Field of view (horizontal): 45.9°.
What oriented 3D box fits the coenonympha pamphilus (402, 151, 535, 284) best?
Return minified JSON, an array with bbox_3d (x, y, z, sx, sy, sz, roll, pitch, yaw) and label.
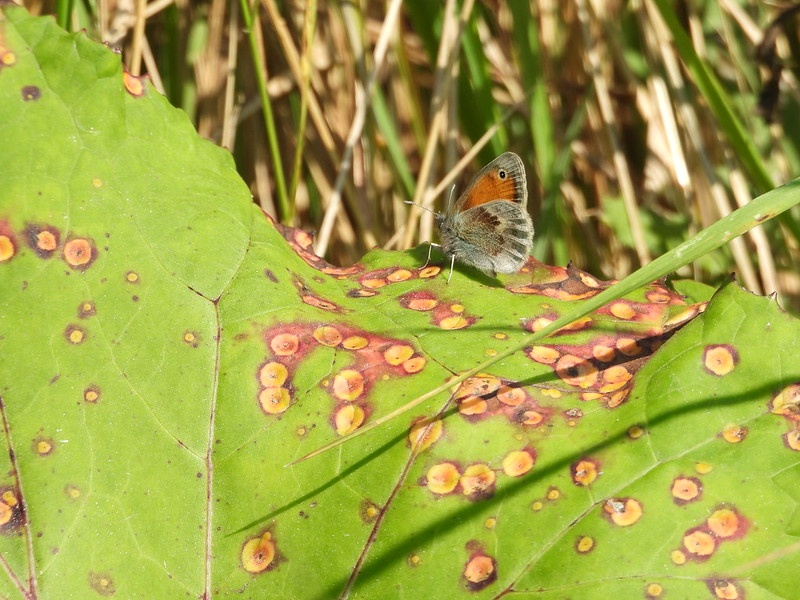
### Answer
[{"bbox_3d":[0.188,-0.208,2.618,0.329,0.301,0.396,24,-12,-3],"label":"coenonympha pamphilus"}]
